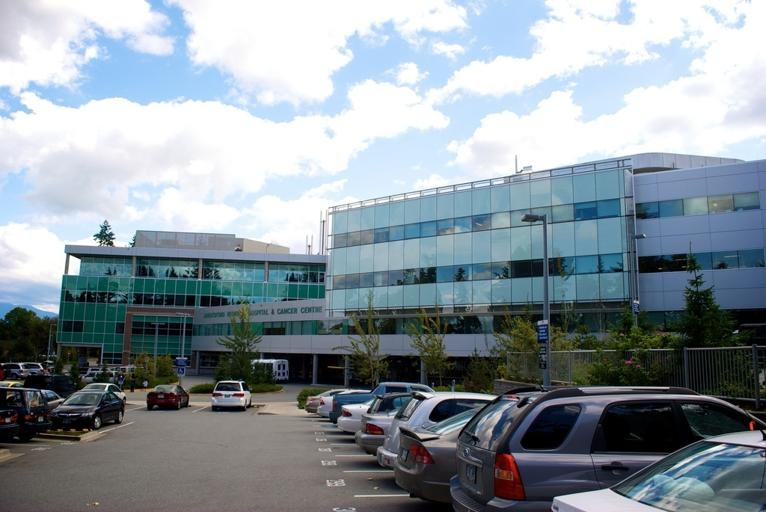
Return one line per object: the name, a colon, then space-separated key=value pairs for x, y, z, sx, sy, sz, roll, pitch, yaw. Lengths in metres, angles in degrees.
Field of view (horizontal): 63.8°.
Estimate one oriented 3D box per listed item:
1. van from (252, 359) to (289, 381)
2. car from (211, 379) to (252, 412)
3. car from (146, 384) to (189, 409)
van: x=-11.347 y=11.553 z=63.063 sx=2.504 sy=2.070 sz=3.809 roll=0 pitch=-5 yaw=4
car: x=-9.130 y=8.440 z=37.656 sx=1.473 sy=1.122 sz=2.932 roll=0 pitch=-5 yaw=0
car: x=-12.954 y=8.463 z=37.544 sx=1.299 sy=0.957 sz=3.046 roll=1 pitch=-4 yaw=-3
